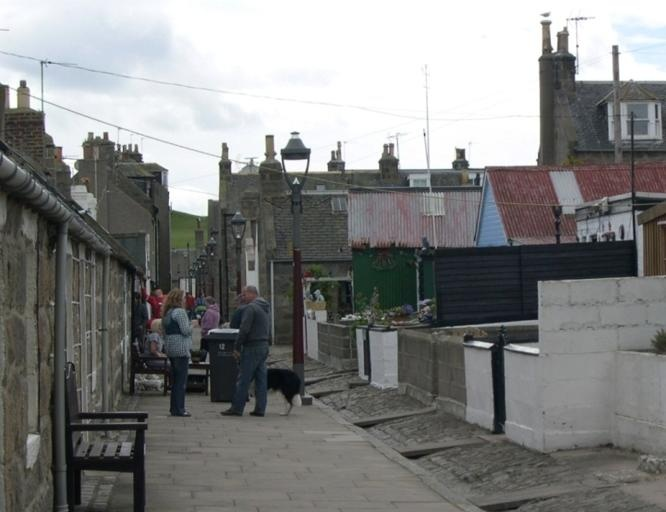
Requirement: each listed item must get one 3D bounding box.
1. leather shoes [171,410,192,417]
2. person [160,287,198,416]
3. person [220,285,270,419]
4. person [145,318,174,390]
[{"bbox_3d":[-2.437,2.517,19.994,0.305,0.128,0.116,-1,0,-8],"label":"leather shoes"},{"bbox_3d":[-2.537,1.574,20.262,0.443,2.075,0.990,-1,3,-8],"label":"person"},{"bbox_3d":[-1.366,1.561,20.292,0.670,2.133,0.728,-1,3,-5],"label":"person"},{"bbox_3d":[-3.138,1.817,22.538,0.524,1.015,1.469,0,0,-3],"label":"person"}]
